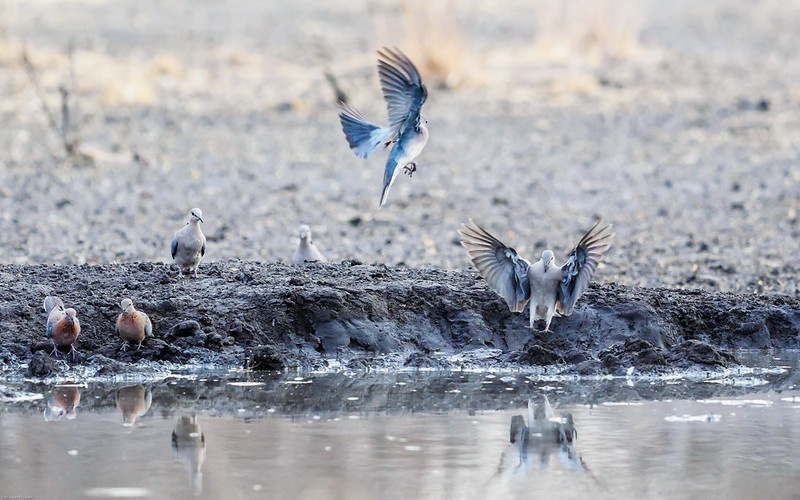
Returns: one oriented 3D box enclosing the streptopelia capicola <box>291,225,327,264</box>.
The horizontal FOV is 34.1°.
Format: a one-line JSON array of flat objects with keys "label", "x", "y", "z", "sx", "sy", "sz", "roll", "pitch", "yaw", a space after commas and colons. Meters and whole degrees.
[{"label": "streptopelia capicola", "x": -1.792, "y": -0.073, "z": 25.096, "sx": 0.547, "sy": 0.685, "sz": 0.483, "roll": 17, "pitch": 21, "yaw": 42}]
